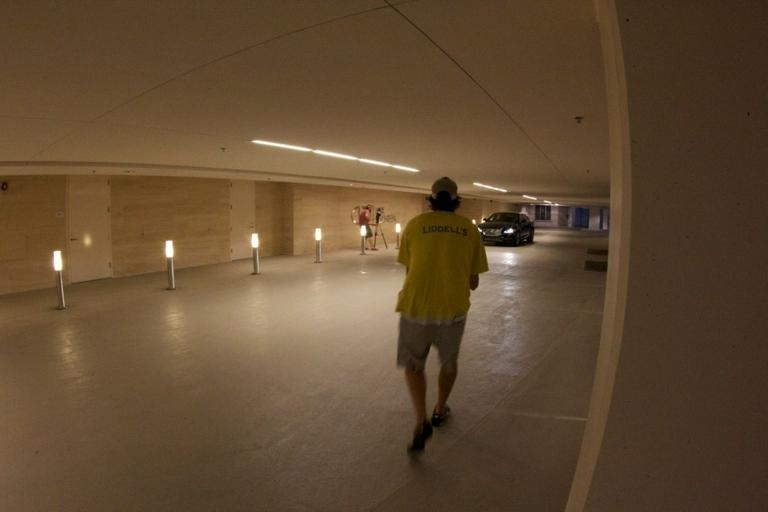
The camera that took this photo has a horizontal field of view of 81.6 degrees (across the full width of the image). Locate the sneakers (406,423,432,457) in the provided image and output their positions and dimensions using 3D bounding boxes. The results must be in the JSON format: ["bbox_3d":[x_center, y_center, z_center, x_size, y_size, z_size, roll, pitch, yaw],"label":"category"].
[{"bbox_3d":[0.328,1.608,3.918,0.118,0.146,0.333,1,0,32],"label":"sneakers"}]
